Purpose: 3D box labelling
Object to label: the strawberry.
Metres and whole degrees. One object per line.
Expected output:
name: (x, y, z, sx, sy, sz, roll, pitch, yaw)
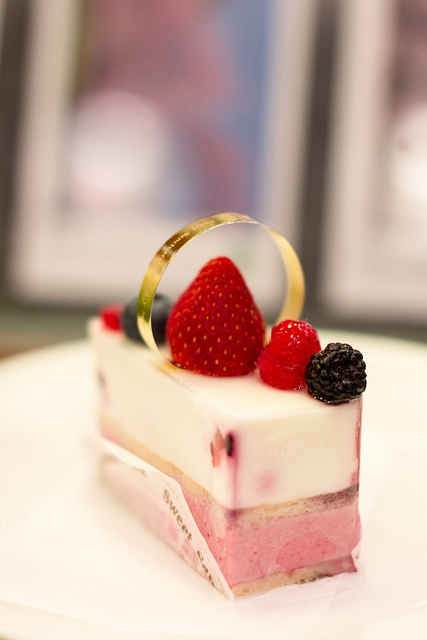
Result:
strawberry: (-0.002, -0.026, 1.173, 0.202, 0.222, 0.141, -9, 22, -32)
